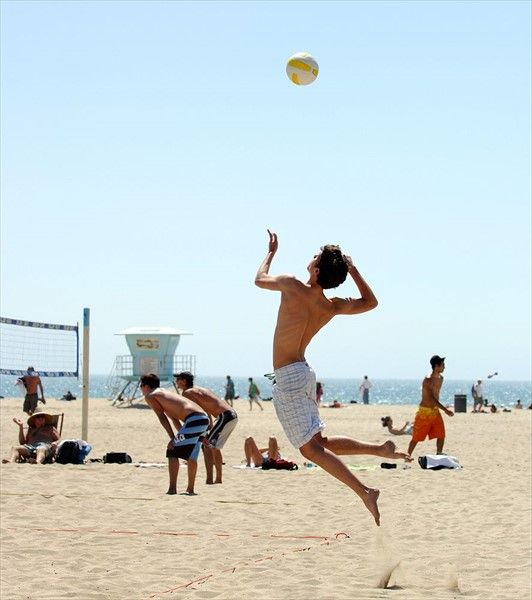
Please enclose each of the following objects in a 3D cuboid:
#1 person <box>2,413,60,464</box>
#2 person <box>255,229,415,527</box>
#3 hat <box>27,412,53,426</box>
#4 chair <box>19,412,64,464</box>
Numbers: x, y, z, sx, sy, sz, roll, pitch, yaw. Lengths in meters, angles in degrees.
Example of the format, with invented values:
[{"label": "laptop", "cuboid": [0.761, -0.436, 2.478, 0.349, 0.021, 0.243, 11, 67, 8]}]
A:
[{"label": "person", "cuboid": [-2.307, 1.422, 9.020, 0.381, 0.417, 0.741, -5, -19, 1]}, {"label": "person", "cuboid": [0.297, 0.438, 5.016, 0.752, 1.495, 0.403, 2, -3, -3]}, {"label": "hat", "cuboid": [-2.243, 1.193, 9.042, 0.245, 0.164, 0.386, 2, -3, -14]}, {"label": "chair", "cuboid": [-2.238, 1.307, 8.980, 0.413, 0.449, 0.909, -6, -15, -7]}]
